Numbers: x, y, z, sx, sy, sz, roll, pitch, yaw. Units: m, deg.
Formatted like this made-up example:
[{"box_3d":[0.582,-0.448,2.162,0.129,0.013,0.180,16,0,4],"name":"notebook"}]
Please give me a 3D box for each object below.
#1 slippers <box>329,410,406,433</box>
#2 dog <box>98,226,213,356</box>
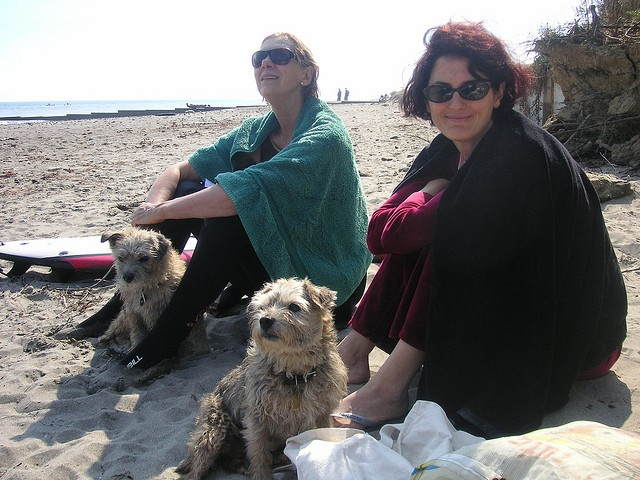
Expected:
[{"box_3d":[0.321,1.183,3.293,0.495,0.097,0.175,-1,6,-16],"name":"slippers"},{"box_3d":[-1.756,0.443,5.126,0.797,1.267,1.271,5,15,-11],"name":"dog"}]
